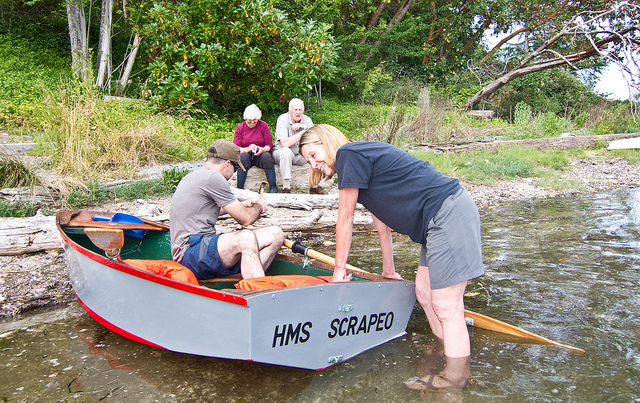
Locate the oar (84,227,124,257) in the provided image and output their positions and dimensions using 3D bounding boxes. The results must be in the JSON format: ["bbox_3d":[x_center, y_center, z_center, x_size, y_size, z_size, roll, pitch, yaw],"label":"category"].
[{"bbox_3d":[-2.765,0.521,6.581,0.482,0.445,0.092,-1,30,-5],"label":"oar"}]

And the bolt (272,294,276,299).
[{"bbox_3d":[-0.558,1.156,6.224,0.052,0.046,0.011,0,-6,-2],"label":"bolt"}]

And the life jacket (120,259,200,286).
[{"bbox_3d":[-2.095,0.899,6.903,0.814,0.382,0.921,0,-3,20],"label":"life jacket"}]

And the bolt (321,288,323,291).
[{"bbox_3d":[0.024,1.092,6.350,0.027,0.023,0.018,0,-19,0],"label":"bolt"}]

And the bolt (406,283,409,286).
[{"bbox_3d":[1.153,1.105,6.773,0.035,0.032,0.008,-12,-12,-2],"label":"bolt"}]

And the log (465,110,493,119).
[{"bbox_3d":[6.562,-3.524,20.937,1.414,0.328,0.516,-2,10,-31],"label":"log"}]

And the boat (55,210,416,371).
[{"bbox_3d":[-1.675,0.827,6.804,4.246,0.985,2.306,9,6,35],"label":"boat"}]
